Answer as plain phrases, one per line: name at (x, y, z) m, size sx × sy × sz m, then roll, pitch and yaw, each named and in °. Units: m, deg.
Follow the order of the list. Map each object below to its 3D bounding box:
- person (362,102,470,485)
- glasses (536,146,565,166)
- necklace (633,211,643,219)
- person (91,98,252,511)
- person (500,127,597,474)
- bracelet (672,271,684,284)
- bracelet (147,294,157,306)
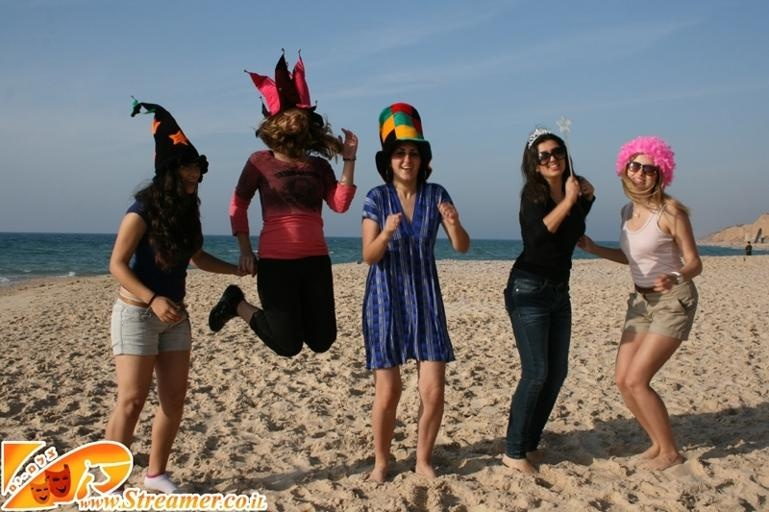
person at (0.232, 0.360, 5.820) m, size 0.892 × 3.526 × 0.826 m, roll 0°, pitch 12°, yaw -3°
glasses at (1.630, -0.978, 5.931) m, size 0.285 × 0.173 × 0.094 m, roll -4°, pitch 13°, yaw -19°
necklace at (2.547, -0.415, 6.146) m, size 0.022 × 0.065 × 0.066 m, roll 18°, pitch -16°, yaw -33°
person at (-2.007, 0.422, 5.434) m, size 1.026 × 3.501 × 1.003 m, roll -3°, pitch 12°, yaw -16°
person at (1.546, 0.423, 6.014) m, size 0.714 × 3.270 × 1.014 m, roll 6°, pitch 13°, yaw 25°
bracelet at (2.798, 0.208, 5.884) m, size 0.084 × 0.127 × 0.127 m, roll 2°, pitch -11°, yaw -6°
bracelet at (-2.025, 0.379, 5.295) m, size 0.022 × 0.099 × 0.054 m, roll 29°, pitch -4°, yaw 4°
